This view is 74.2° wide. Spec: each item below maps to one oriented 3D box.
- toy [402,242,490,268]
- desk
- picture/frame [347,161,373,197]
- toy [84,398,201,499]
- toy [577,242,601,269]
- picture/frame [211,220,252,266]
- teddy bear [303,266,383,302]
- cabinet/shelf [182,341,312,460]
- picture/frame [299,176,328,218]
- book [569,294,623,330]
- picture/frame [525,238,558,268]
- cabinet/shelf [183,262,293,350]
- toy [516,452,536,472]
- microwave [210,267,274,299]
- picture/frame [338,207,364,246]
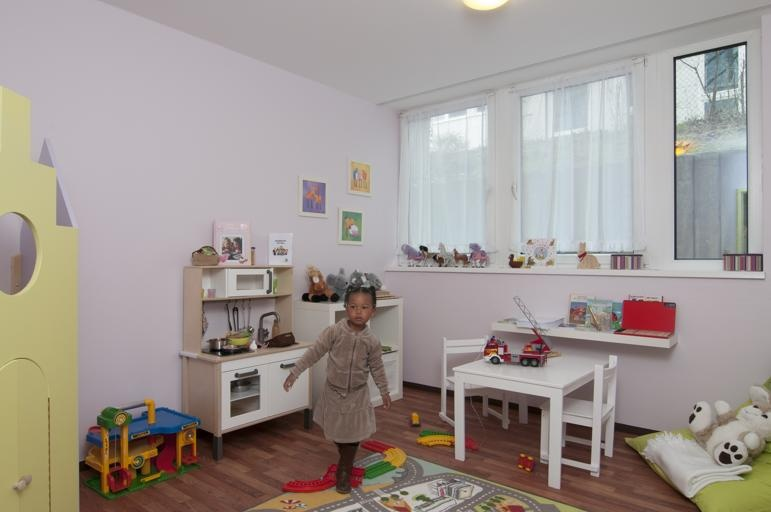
[{"bbox_3d":[0.707,-0.061,5.939,1.233,0.441,0.332,2,2,30],"label":"toy"},{"bbox_3d":[1.226,1.453,4.133,0.938,0.879,1.239,-1,-1,42],"label":"desk"},{"bbox_3d":[-0.305,-0.890,5.784,0.034,0.417,0.446,0,-2,37],"label":"picture/frame"},{"bbox_3d":[-1.875,1.456,4.019,0.697,0.528,0.700,0,-1,33],"label":"toy"},{"bbox_3d":[1.961,-0.013,4.917,0.201,0.226,0.277,1,10,22],"label":"toy"},{"bbox_3d":[-1.426,-0.120,4.644,0.060,0.519,0.421,-3,-3,42],"label":"picture/frame"},{"bbox_3d":[-0.529,0.289,5.219,0.584,0.245,0.410,-2,-3,34],"label":"teddy bear"},{"bbox_3d":[-1.240,1.217,4.604,0.573,0.725,1.049,-1,-2,34],"label":"cabinet/shelf"},{"bbox_3d":[-0.771,-0.628,5.330,0.018,0.454,0.467,-1,-2,39],"label":"picture/frame"},{"bbox_3d":[1.952,0.513,4.674,0.317,0.259,0.107,0,-14,37],"label":"book"},{"bbox_3d":[1.566,-0.035,5.138,0.279,0.278,0.124,1,10,19],"label":"picture/frame"},{"bbox_3d":[-1.272,0.439,4.646,0.949,0.692,0.312,-1,-1,-41],"label":"cabinet/shelf"},{"bbox_3d":[1.114,1.620,4.021,0.139,0.138,0.088,2,1,18],"label":"toy"},{"bbox_3d":[-1.272,0.233,4.554,0.253,0.224,0.477,1,0,34],"label":"microwave"},{"bbox_3d":[-0.386,-0.340,5.708,0.008,0.398,0.413,-1,0,41],"label":"picture/frame"}]
